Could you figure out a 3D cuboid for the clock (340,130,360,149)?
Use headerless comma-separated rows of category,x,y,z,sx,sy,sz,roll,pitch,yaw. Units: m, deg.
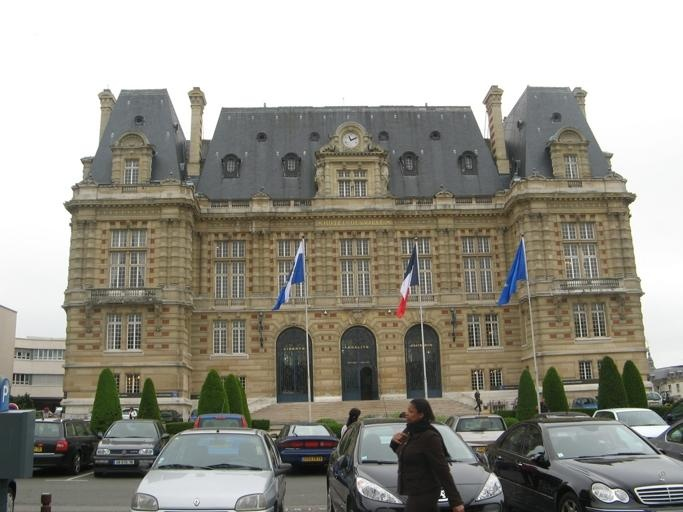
clock,0.580,-8.652,54.407,1.452,1.396,0.190,-1,-4,2

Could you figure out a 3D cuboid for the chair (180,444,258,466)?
chair,-2.617,4.296,15.834,1.879,0.672,0.659,0,-13,-8
